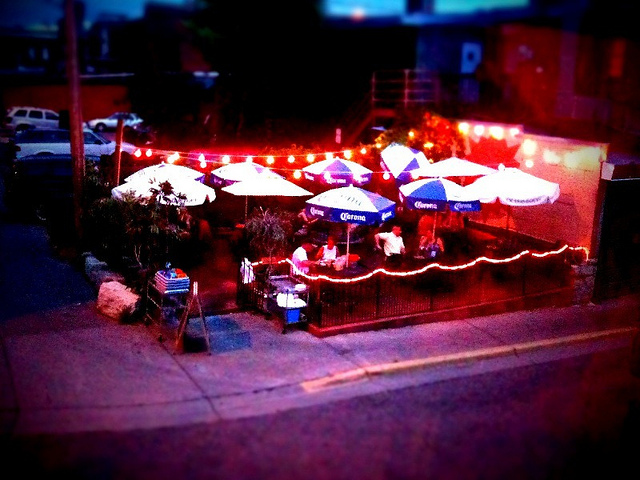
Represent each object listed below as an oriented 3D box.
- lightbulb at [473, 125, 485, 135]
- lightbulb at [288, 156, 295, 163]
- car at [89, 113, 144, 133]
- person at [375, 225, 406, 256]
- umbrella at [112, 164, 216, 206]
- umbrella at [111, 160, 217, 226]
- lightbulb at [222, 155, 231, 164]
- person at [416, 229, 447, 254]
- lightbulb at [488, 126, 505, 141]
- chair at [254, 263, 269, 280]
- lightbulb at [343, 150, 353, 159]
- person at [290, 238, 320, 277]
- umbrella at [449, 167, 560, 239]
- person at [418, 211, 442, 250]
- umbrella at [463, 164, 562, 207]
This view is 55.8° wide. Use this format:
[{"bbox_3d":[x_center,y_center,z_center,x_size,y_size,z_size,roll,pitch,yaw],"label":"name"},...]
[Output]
[{"bbox_3d":[5.018,-3.498,19.088,0.113,0.316,0.391,-6,17,-30],"label":"lightbulb"},{"bbox_3d":[-0.856,-2.434,18.176,0.168,0.135,0.163,-1,4,-39],"label":"lightbulb"},{"bbox_3d":[-12.492,-7.159,36.621,2.818,1.190,1.786,-3,16,-20],"label":"car"},{"bbox_3d":[1.930,-0.010,15.949,0.927,0.823,0.392,-7,18,-37],"label":"person"},{"bbox_3d":[-3.765,-1.415,15.322,1.425,0.564,1.396,-10,19,-39],"label":"umbrella"},{"bbox_3d":[-3.936,-1.345,15.368,1.978,0.993,2.160,15,19,37],"label":"umbrella"},{"bbox_3d":[-2.774,-2.368,17.877,0.264,0.179,0.276,-4,8,-12],"label":"lightbulb"},{"bbox_3d":[3.047,0.113,16.261,0.648,0.638,1.155,7,16,18],"label":"person"},{"bbox_3d":[5.381,-3.303,18.394,0.363,0.367,0.369,20,-23,-20],"label":"lightbulb"},{"bbox_3d":[-1.400,0.753,14.420,0.307,0.221,0.330,0,0,25],"label":"chair"},{"bbox_3d":[0.899,-2.772,19.519,0.197,0.271,0.477,8,16,20],"label":"lightbulb"},{"bbox_3d":[-0.362,0.455,14.952,0.478,0.901,0.409,-13,36,-23],"label":"person"},{"bbox_3d":[4.665,-0.940,15.866,1.619,1.326,1.667,0,4,2],"label":"umbrella"},{"bbox_3d":[2.963,-0.324,16.769,0.477,0.628,2.152,5,16,9],"label":"person"},{"bbox_3d":[5.041,-1.352,15.534,1.454,0.640,1.510,-9,26,-19],"label":"umbrella"}]
